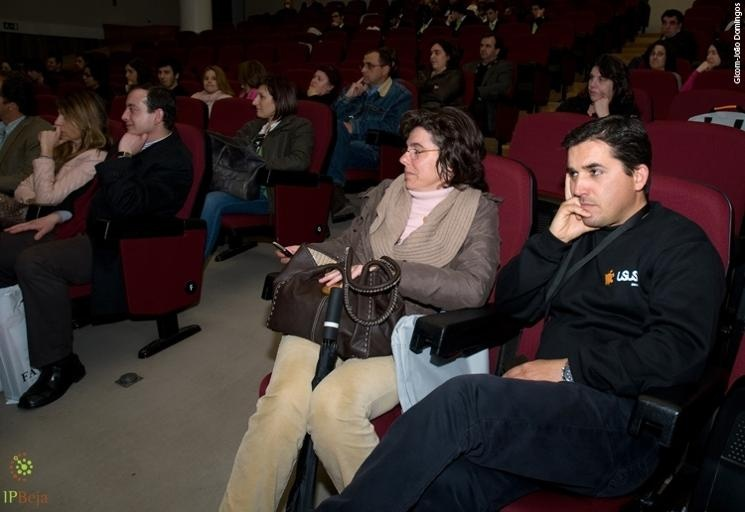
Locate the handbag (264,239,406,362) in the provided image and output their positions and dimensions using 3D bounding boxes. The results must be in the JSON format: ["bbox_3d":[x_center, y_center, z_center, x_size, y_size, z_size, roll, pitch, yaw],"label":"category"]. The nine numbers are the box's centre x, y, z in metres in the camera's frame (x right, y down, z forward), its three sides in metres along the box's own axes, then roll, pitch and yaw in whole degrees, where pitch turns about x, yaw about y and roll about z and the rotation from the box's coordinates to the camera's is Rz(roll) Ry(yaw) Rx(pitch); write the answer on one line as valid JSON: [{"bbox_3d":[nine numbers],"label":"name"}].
[{"bbox_3d":[-0.129,0.151,1.863,0.511,0.359,0.334,11,21,25],"label":"handbag"}]

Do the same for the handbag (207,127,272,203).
[{"bbox_3d":[-0.890,-0.579,3.211,0.379,0.430,0.159,-4,-1,-1],"label":"handbag"}]

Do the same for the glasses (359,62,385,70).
[{"bbox_3d":[-0.018,-1.739,4.473,0.112,0.075,0.248,-15,26,-39],"label":"glasses"}]
